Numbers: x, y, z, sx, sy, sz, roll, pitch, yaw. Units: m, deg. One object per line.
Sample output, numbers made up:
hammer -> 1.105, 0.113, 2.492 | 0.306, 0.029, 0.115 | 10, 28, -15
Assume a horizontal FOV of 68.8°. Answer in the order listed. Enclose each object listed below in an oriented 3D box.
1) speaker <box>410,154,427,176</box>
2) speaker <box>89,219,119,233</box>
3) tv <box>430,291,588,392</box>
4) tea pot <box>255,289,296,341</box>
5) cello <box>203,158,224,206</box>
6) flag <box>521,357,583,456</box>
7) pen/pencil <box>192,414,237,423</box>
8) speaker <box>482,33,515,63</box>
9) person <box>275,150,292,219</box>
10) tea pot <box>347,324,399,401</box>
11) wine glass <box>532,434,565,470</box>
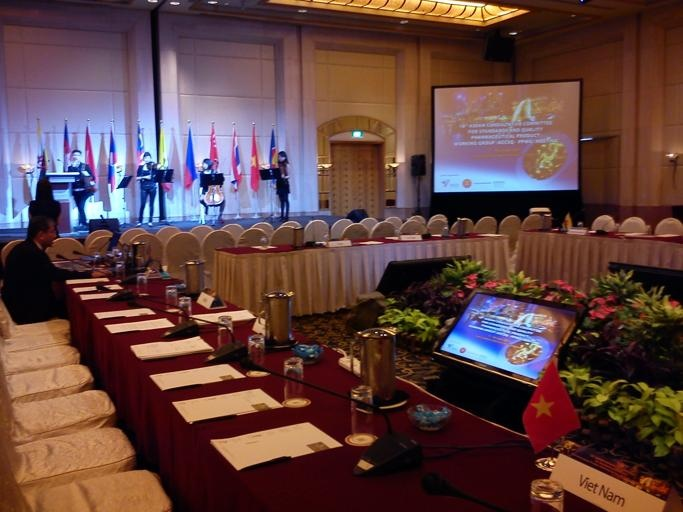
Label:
speaker -> 2.165, -2.604, 14.257 | 0.438, 0.738, 0.593 | -2, 8, -20
speaker -> -4.531, -0.589, 9.458 | 0.570, 0.353, 0.361 | 1, -6, -18
tv -> 0.754, 0.373, 2.230 | 0.135, 0.380, 0.500 | 39, -12, -34
tea pot -> -0.284, 0.294, 2.519 | 0.235, 0.241, 0.203 | 1, 7, 9
cello -> -3.275, -1.787, 12.404 | 0.584, 1.315, 0.907 | -7, 11, -15
flag -> 0.569, 0.414, 1.360 | 0.136, 0.229, 0.089 | -2, 11, 9
pen/pencil -> -0.446, 0.572, 1.733 | 0.152, 0.015, 0.022 | -7, 10, -19
speaker -> 4.126, -5.581, 13.193 | 0.760, 0.749, 0.220 | -4, 10, 1
person -> -1.532, -1.818, 12.807 | 0.385, 1.775, 0.882 | -5, 10, -5
tea pot -> 0.126, 0.388, 1.892 | 0.245, 0.271, 0.197 | -2, 6, -12
wine glass -> 0.609, 0.586, 1.496 | 0.085, 0.082, 0.089 | -1, 5, -9
